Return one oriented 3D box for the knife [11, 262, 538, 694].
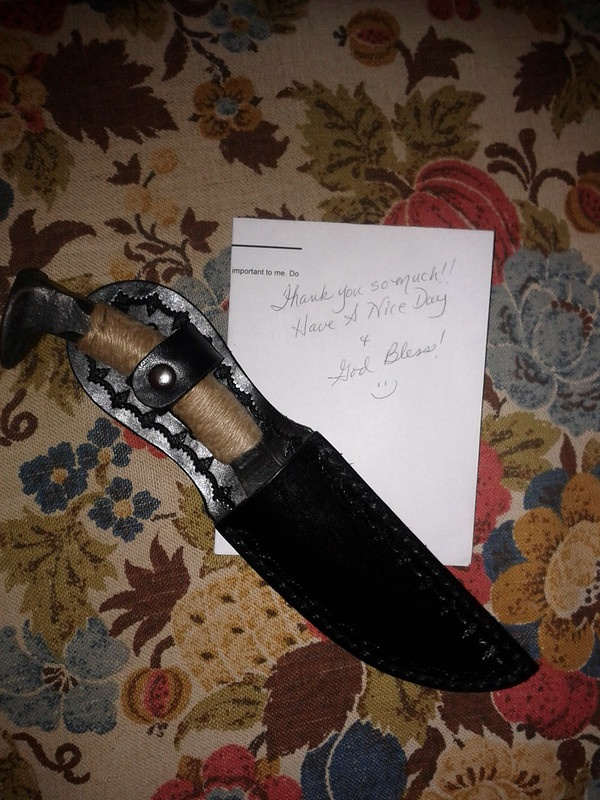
[{"bbox_3d":[-0.025,0.079,0.676,0.602,0.112,0.161,41,86,5],"label":"knife"}]
